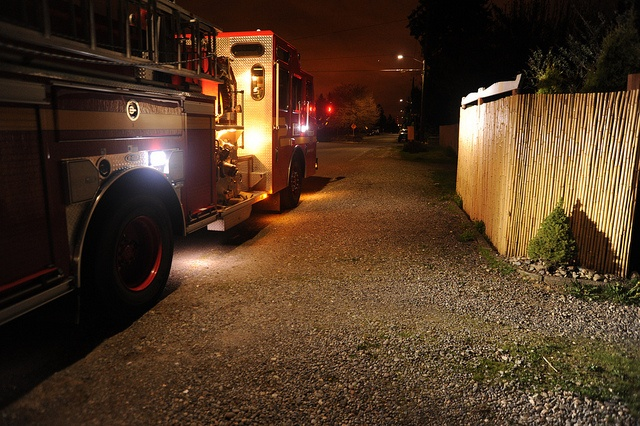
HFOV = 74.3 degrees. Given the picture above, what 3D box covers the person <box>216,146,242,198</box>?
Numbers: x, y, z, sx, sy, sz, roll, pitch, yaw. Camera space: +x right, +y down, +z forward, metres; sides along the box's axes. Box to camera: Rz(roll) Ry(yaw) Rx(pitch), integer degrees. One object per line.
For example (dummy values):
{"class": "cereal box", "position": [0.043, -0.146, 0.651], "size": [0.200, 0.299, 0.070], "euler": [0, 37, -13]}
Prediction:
{"class": "person", "position": [-1.727, -0.743, 7.776], "size": [0.331, 0.861, 0.625], "euler": [5, 4, 10]}
